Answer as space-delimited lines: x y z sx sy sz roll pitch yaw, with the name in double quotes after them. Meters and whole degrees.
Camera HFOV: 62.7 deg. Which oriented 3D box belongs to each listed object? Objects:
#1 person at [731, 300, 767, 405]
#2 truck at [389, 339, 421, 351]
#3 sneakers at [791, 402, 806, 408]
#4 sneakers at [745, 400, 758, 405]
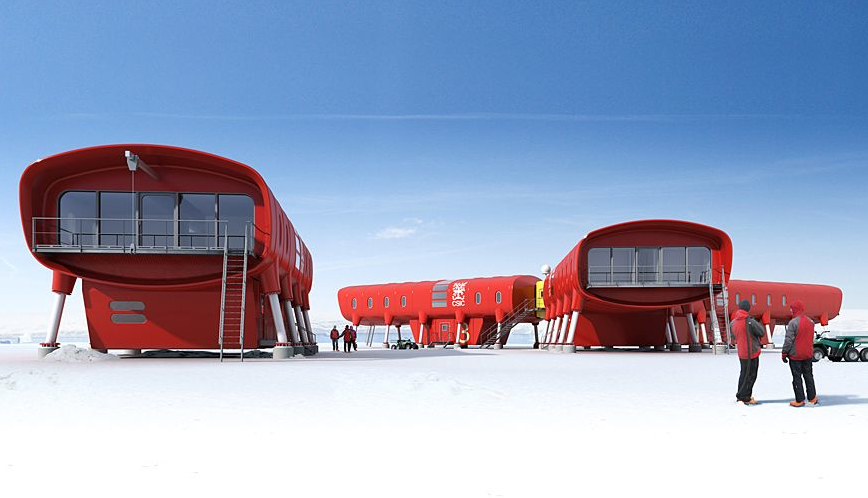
7.310 2.350 16.530 0.673 2.297 1.585 -4 -7 22 "person"
-2.019 6.677 49.329 2.216 0.732 1.418 -3 -4 24 "truck"
7.972 3.400 15.628 0.271 0.109 0.212 -3 -6 23 "sneakers"
7.036 3.389 15.792 0.269 0.113 0.142 -1 -6 6 "sneakers"
